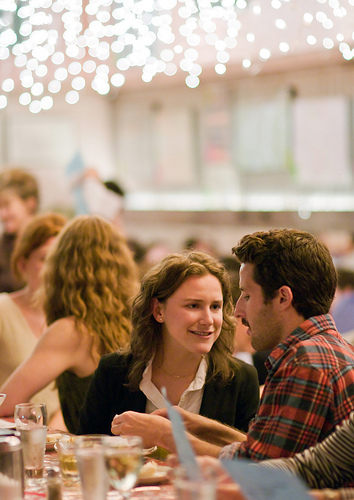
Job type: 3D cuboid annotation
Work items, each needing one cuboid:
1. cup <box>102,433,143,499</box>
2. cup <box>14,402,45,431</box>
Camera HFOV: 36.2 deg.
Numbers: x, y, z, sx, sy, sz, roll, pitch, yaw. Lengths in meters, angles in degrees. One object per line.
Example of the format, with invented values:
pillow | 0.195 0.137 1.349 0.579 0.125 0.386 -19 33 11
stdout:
cup | -0.099 0.398 1.003 0.074 0.112 0.222 -3 -3 -7
cup | -0.357 0.403 1.315 0.068 0.055 0.062 1 -1 -6
